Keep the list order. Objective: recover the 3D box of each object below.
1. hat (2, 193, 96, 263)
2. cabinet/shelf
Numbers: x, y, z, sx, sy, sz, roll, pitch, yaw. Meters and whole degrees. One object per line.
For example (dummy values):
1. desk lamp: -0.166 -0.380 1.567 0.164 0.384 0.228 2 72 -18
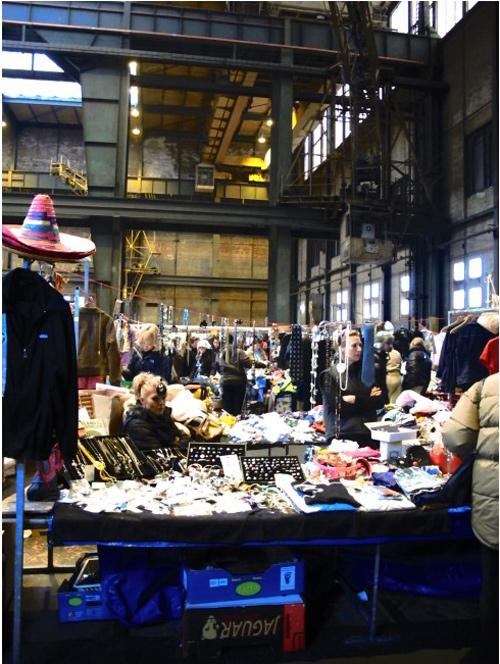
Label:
1. hat: -1.185 -0.539 3.619 0.450 0.201 0.414 16 15 29
2. cabinet/shelf: 0.181 0.654 4.945 3.411 1.468 3.611 1 0 2
